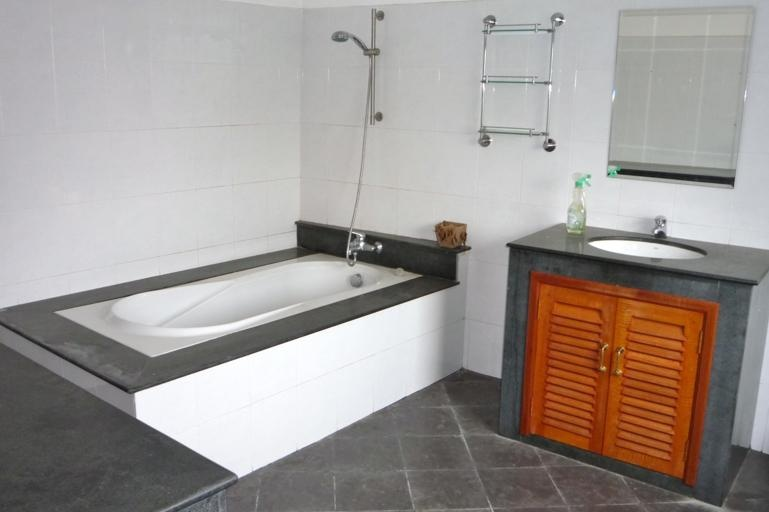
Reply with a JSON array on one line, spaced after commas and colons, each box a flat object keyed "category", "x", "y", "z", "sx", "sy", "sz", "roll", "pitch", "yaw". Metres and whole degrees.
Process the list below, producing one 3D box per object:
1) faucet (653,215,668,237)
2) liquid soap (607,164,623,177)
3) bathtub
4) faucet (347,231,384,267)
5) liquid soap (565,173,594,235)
[{"category": "faucet", "x": 1.609, "y": -0.179, "z": 3.203, "sx": 0.102, "sy": 0.149, "sz": 0.085, "roll": 8, "pitch": 16, "yaw": 43}, {"category": "liquid soap", "x": 1.395, "y": -0.523, "z": 3.312, "sx": 0.068, "sy": 0.028, "sz": 0.054, "roll": 29, "pitch": 64, "yaw": 37}, {"category": "bathtub", "x": -0.910, "y": 0.320, "z": 3.477, "sx": 1.923, "sy": 0.316, "sz": 0.900, "roll": -9, "pitch": 20, "yaw": -40}, {"category": "faucet", "x": -0.164, "y": -0.074, "z": 4.063, "sx": 0.313, "sy": 0.337, "sz": 0.181, "roll": 3, "pitch": 17, "yaw": 13}, {"category": "liquid soap", "x": 1.179, "y": -0.331, "z": 3.327, "sx": 0.117, "sy": 0.347, "sz": 0.287, "roll": 8, "pitch": 16, "yaw": 19}]
